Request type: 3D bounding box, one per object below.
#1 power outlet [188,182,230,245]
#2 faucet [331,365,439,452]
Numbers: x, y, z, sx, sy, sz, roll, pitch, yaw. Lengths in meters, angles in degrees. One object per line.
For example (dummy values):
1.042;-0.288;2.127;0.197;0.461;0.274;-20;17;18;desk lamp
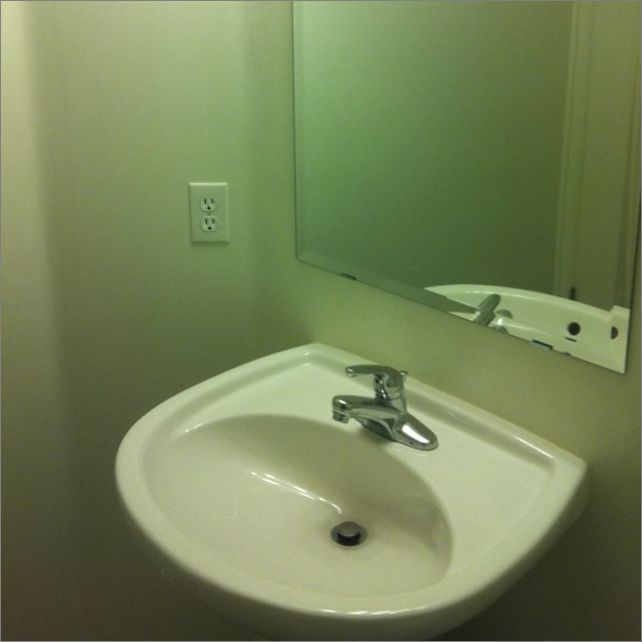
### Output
-0.255;-0.251;1.384;0.115;0.172;0.025;-1;13;-5;power outlet
0.112;0.136;0.982;0.178;0.117;0.090;4;8;-17;faucet
